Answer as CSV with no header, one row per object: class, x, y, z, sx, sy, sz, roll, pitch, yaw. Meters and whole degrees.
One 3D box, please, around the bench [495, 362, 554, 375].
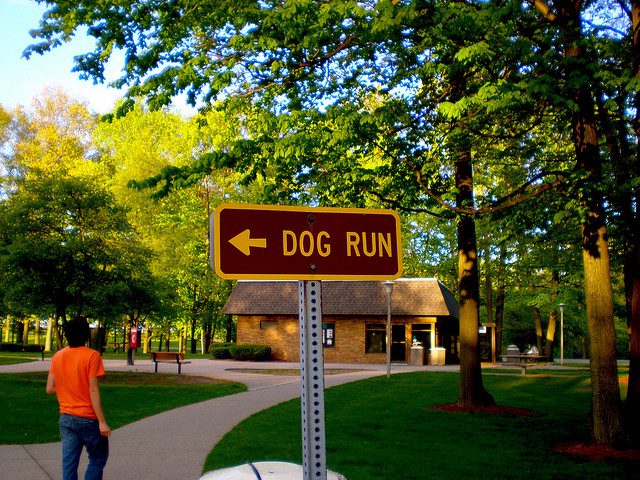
bench,10.665,6.667,37.269,2.906,0.762,11.795,-5,-12,17
